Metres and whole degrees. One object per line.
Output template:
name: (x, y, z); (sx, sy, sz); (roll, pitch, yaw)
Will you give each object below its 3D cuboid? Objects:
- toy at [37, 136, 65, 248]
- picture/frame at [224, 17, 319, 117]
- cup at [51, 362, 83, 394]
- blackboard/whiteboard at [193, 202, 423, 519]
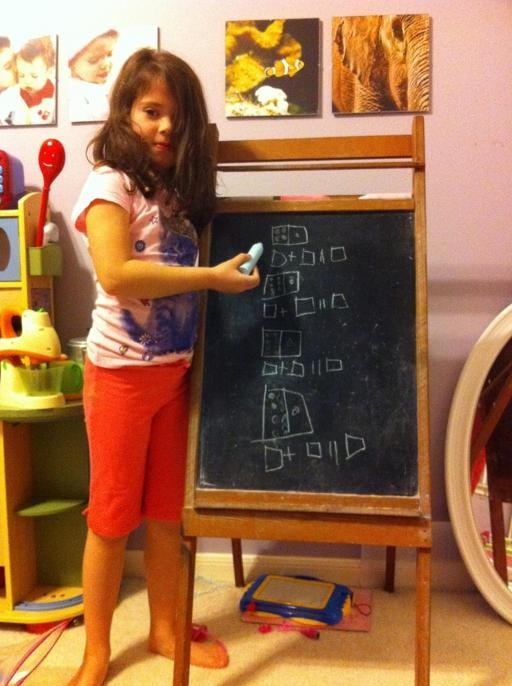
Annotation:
toy: (-0.603, -0.418, 1.724); (0.069, 0.317, 0.040); (18, 22, 3)
picture/frame: (0.052, -0.796, 1.716); (0.267, 0.265, 0.011); (1, 5, 6)
cup: (-0.522, 0.102, 1.638); (0.057, 0.084, 0.085); (0, -1, 30)
blackboard/whiteboard: (0.115, 0.019, 1.263); (0.462, 0.599, 0.345); (2, 14, 0)
